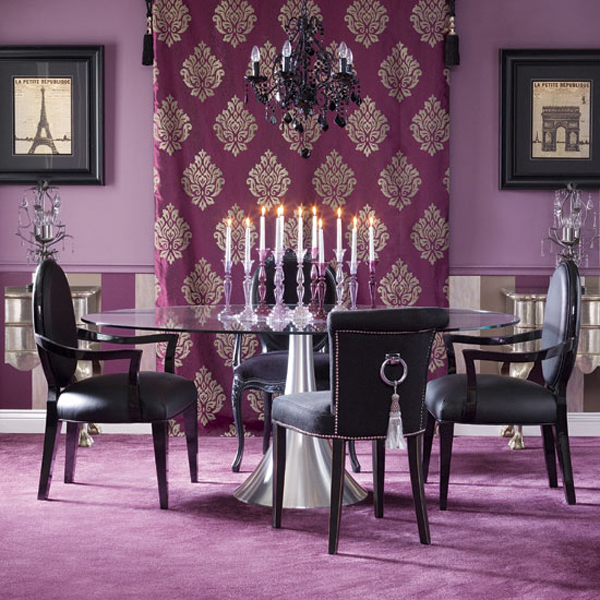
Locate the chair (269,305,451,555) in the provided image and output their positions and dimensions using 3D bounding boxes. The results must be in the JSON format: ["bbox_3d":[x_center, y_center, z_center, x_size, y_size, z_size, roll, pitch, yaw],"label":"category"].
[{"bbox_3d":[0.200,0.433,2.536,0.438,0.972,0.582,-1,5,-18],"label":"chair"}]

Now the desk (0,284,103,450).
[{"bbox_3d":[-1.409,0.350,4.349,0.603,1.094,0.787,0,2,13],"label":"desk"}]

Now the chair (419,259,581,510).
[{"bbox_3d":[0.850,0.304,3.029,0.514,1.095,0.579,2,3,17],"label":"chair"}]
